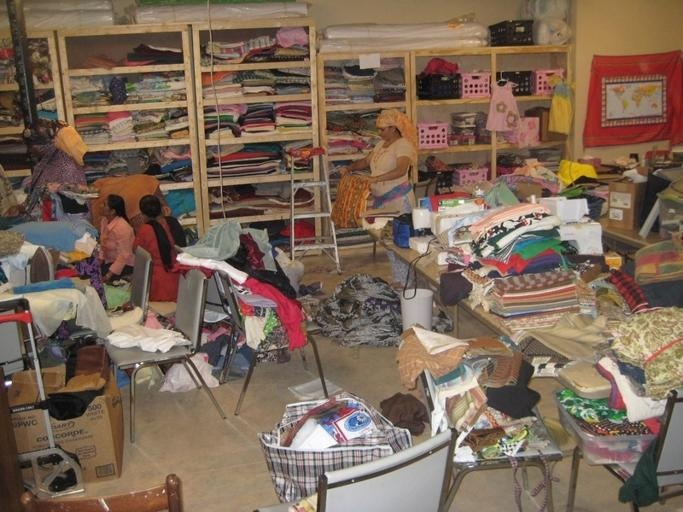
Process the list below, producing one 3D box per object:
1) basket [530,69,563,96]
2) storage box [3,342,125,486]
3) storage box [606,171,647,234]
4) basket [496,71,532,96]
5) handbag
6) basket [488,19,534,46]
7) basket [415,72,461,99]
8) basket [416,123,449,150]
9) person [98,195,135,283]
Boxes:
[{"bbox_3d":[2.745,-2.318,7.131,0.453,0.236,0.218,-5,18,-11],"label":"basket"},{"bbox_3d":[-1.602,0.873,3.183,0.815,0.539,0.961,-7,8,-20],"label":"storage box"},{"bbox_3d":[2.079,-0.378,3.880,0.227,0.368,0.131,4,22,23],"label":"storage box"},{"bbox_3d":[2.261,-2.279,7.024,0.508,0.242,0.228,-2,12,-11],"label":"basket"},{"bbox_3d":[-0.096,0.780,2.184,0.682,0.240,0.463,-9,19,-23],"label":"handbag"},{"bbox_3d":[2.239,-2.912,7.112,0.541,0.238,0.457,-3,8,-11],"label":"basket"},{"bbox_3d":[1.242,-2.138,6.857,0.478,0.227,0.482,13,20,43],"label":"basket"},{"bbox_3d":[1.171,-1.540,6.851,0.464,0.233,0.384,-1,15,2],"label":"basket"},{"bbox_3d":[-2.025,-0.166,4.692,0.320,0.695,0.556,-13,20,-22],"label":"person"}]
